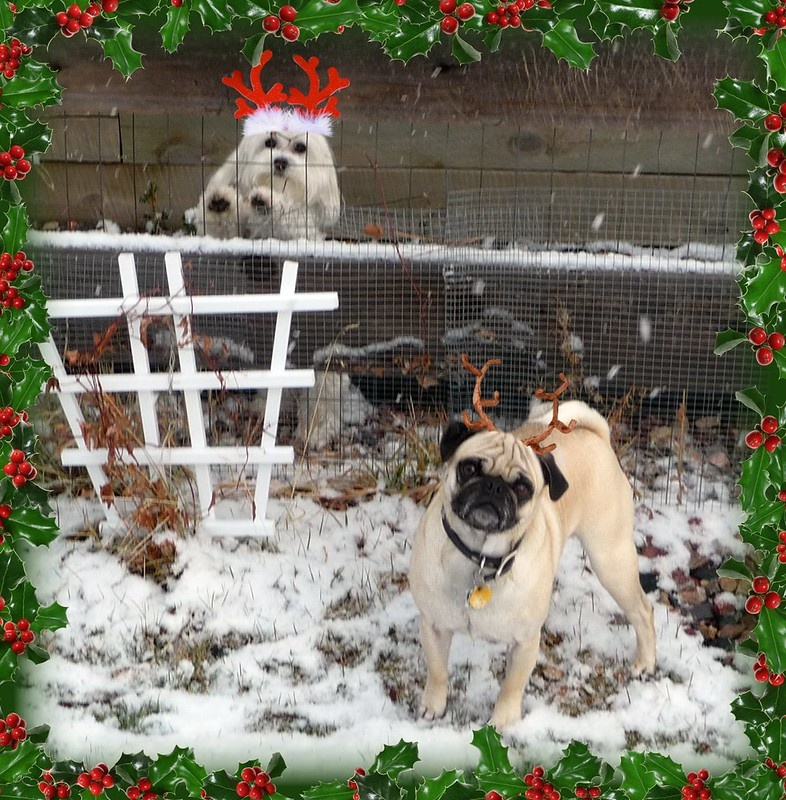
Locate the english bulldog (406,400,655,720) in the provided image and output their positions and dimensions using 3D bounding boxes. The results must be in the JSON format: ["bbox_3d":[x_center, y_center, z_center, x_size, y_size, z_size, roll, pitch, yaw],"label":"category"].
[{"bbox_3d":[0.458,0.503,4.630,0.568,1.072,1.125,11,8,31],"label":"english bulldog"}]
